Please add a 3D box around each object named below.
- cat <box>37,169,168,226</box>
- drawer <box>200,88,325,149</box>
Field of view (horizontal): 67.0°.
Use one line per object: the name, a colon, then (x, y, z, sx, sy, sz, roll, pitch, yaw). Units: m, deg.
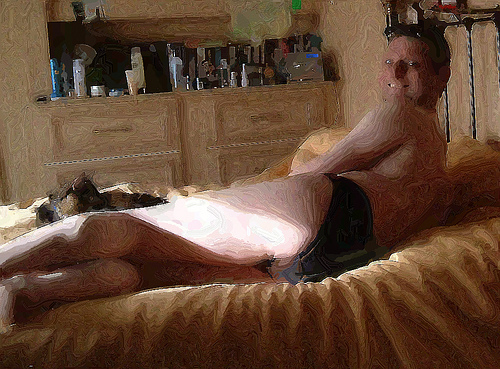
cat: (-0.540, 0.055, 1.361, 0.335, 0.117, 0.252, -10, 3, -24)
drawer: (0.049, -0.386, 2.135, 0.730, 0.353, 0.164, -3, 6, -7)
